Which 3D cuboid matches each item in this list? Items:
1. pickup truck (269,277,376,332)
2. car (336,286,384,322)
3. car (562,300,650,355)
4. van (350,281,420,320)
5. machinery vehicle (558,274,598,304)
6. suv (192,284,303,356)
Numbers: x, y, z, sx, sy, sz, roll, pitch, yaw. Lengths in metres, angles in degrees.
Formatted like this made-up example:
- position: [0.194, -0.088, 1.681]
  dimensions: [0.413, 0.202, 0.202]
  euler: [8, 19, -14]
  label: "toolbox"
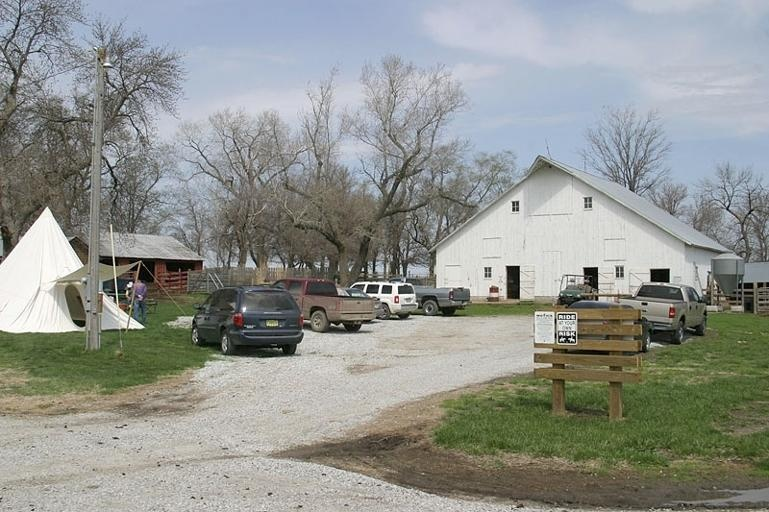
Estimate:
- position: [-2.983, 2.010, 33.371]
  dimensions: [4.064, 1.451, 2.012]
  euler: [6, 2, 44]
  label: "pickup truck"
- position: [-1.049, 2.165, 36.783]
  dimensions: [1.119, 0.880, 2.362]
  euler: [0, 1, -39]
  label: "car"
- position: [7.320, 2.364, 26.007]
  dimensions: [2.452, 1.696, 4.034]
  euler: [-13, -15, 20]
  label: "car"
- position: [-0.094, 2.210, 40.087]
  dimensions: [3.042, 1.301, 1.699]
  euler: [5, 3, 31]
  label: "van"
- position: [11.145, 1.900, 45.393]
  dimensions: [1.667, 1.793, 3.244]
  euler: [-2, -4, 28]
  label: "machinery vehicle"
- position: [-4.698, 2.130, 25.924]
  dimensions: [3.515, 2.244, 1.580]
  euler: [0, -4, 29]
  label: "suv"
